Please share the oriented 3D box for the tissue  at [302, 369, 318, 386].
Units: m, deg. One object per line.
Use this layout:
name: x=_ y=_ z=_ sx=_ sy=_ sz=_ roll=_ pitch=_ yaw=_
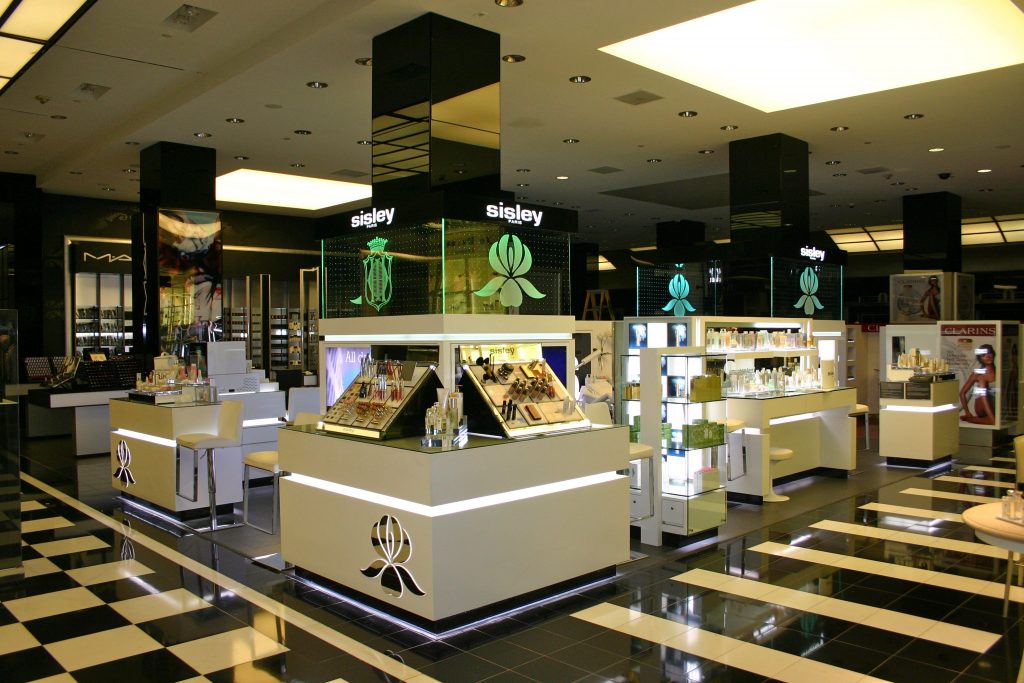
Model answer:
tissue : x=-4.170 y=0.727 z=15.755 sx=0.191 sy=0.245 sz=0.262 roll=-3 pitch=-2 yaw=23
